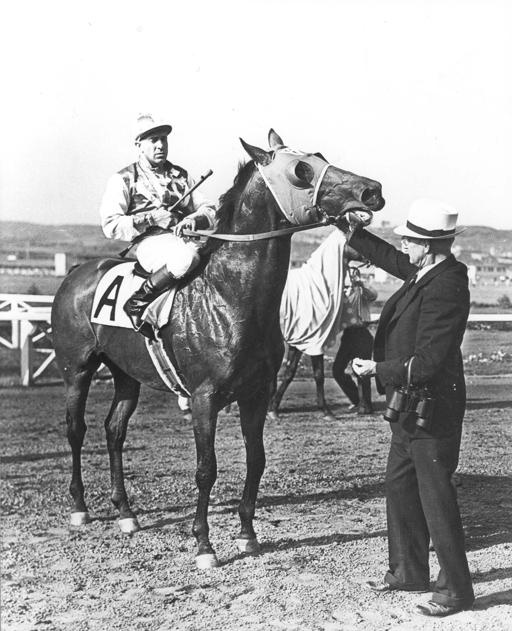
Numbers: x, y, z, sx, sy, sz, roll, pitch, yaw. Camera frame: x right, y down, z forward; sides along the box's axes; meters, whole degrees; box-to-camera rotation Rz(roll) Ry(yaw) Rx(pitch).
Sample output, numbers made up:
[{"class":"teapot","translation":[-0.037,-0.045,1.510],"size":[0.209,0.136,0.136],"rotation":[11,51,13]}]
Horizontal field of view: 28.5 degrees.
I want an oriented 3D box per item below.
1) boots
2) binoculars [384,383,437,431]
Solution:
[{"class":"boots","translation":[-0.561,-0.071,5.205],"size":[0.263,0.361,0.251],"rotation":[-7,11,-26]},{"class":"binoculars","translation":[0.673,0.394,4.536],"size":[0.314,0.189,0.196],"rotation":[-2,8,-6]}]
